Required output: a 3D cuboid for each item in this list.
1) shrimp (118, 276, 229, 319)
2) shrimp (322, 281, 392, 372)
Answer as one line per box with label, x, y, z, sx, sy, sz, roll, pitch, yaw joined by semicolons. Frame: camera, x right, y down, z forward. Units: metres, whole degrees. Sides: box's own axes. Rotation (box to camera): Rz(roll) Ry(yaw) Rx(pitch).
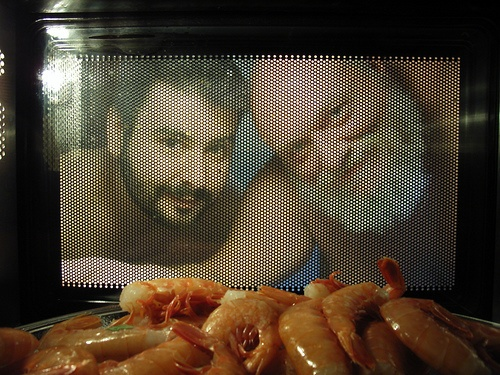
shrimp;-0.126;0.165;0.916;0.116;0.146;0.058;-1;95;30
shrimp;0.161;0.207;0.839;0.081;0.029;0.112;-9;44;-26
